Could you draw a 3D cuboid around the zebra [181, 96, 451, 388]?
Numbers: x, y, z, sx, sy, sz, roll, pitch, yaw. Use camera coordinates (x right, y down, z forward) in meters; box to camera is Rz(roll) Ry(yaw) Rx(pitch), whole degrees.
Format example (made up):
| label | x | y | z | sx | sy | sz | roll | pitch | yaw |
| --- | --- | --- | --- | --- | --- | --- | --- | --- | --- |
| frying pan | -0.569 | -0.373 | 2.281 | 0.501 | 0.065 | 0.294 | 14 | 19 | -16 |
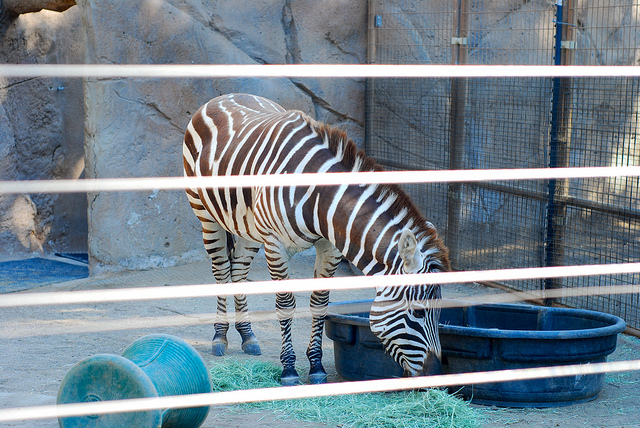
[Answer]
| label | x | y | z | sx | sy | sz | roll | pitch | yaw |
| --- | --- | --- | --- | --- | --- | --- | --- | --- | --- |
| zebra | -0.108 | 0.321 | 11.974 | 1.188 | 3.818 | 2.235 | -3 | -78 | -34 |
